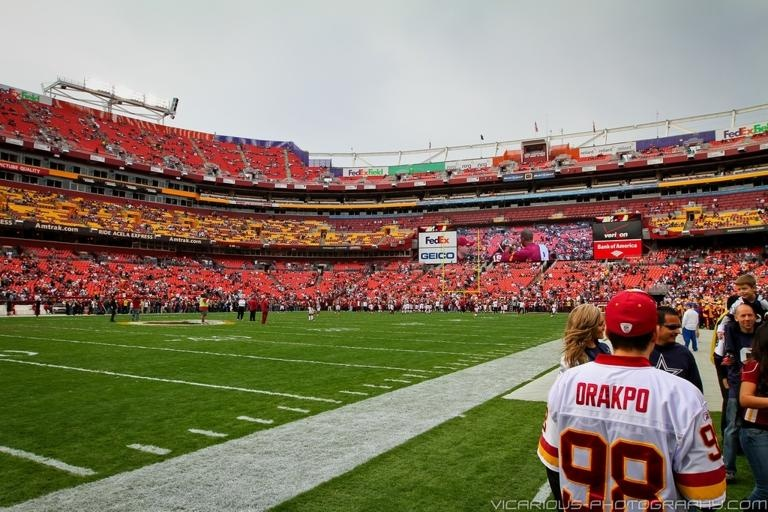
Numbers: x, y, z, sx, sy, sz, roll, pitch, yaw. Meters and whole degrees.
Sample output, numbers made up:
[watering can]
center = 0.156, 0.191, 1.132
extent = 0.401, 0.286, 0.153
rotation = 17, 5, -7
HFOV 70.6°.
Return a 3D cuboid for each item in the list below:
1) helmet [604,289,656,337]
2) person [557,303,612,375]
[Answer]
[helmet]
center = 2.109, 0.526, 5.002
extent = 0.406, 0.223, 0.572
rotation = 0, 5, 30
[person]
center = 2.292, 0.974, 6.802
extent = 0.505, 0.681, 0.987
rotation = 0, 3, 35
